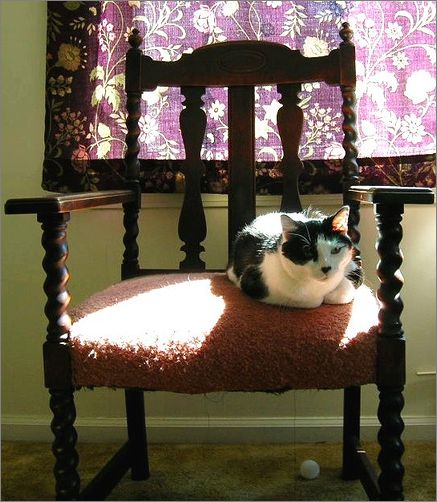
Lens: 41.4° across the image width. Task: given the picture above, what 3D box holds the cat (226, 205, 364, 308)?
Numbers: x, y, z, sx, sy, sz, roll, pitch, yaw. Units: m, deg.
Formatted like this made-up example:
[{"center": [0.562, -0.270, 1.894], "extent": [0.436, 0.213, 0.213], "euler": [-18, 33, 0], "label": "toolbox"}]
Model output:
[{"center": [0.148, -0.005, 1.236], "extent": [0.198, 0.139, 0.278], "euler": [-9, 14, -19], "label": "cat"}]
